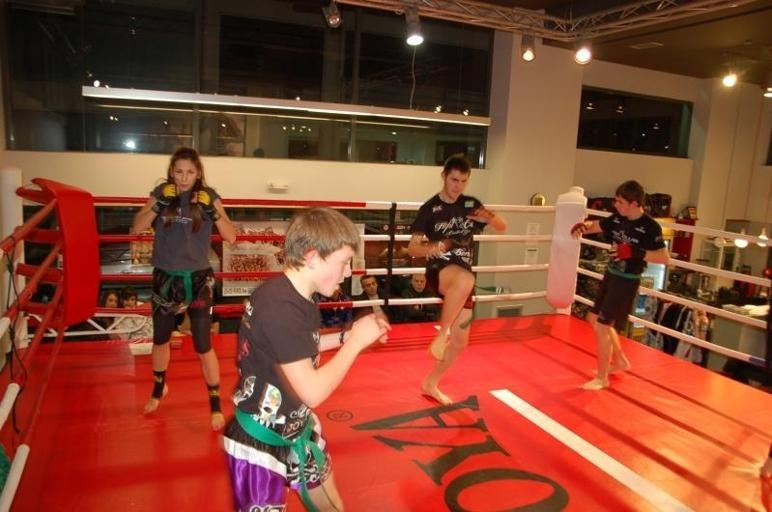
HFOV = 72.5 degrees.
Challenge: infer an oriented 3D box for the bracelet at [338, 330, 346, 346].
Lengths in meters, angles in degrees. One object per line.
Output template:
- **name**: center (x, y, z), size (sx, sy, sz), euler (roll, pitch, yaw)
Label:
- **bracelet**: center (-0.279, 0.517, 3.309), size (0.030, 0.080, 0.060), euler (14, 0, -10)

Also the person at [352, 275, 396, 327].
- **person**: center (-0.194, 0.472, 6.266), size (0.444, 0.827, 0.571), euler (-4, -6, -12)

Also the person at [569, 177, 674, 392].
- **person**: center (2.256, 0.239, 5.028), size (0.741, 1.879, 1.048), euler (7, 12, 20)

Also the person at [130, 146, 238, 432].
- **person**: center (-1.603, 0.234, 4.153), size (0.745, 2.109, 0.691), euler (-1, 12, -15)

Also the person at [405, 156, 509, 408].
- **person**: center (0.535, 0.169, 4.624), size (0.629, 2.077, 0.727), euler (11, 14, 37)
